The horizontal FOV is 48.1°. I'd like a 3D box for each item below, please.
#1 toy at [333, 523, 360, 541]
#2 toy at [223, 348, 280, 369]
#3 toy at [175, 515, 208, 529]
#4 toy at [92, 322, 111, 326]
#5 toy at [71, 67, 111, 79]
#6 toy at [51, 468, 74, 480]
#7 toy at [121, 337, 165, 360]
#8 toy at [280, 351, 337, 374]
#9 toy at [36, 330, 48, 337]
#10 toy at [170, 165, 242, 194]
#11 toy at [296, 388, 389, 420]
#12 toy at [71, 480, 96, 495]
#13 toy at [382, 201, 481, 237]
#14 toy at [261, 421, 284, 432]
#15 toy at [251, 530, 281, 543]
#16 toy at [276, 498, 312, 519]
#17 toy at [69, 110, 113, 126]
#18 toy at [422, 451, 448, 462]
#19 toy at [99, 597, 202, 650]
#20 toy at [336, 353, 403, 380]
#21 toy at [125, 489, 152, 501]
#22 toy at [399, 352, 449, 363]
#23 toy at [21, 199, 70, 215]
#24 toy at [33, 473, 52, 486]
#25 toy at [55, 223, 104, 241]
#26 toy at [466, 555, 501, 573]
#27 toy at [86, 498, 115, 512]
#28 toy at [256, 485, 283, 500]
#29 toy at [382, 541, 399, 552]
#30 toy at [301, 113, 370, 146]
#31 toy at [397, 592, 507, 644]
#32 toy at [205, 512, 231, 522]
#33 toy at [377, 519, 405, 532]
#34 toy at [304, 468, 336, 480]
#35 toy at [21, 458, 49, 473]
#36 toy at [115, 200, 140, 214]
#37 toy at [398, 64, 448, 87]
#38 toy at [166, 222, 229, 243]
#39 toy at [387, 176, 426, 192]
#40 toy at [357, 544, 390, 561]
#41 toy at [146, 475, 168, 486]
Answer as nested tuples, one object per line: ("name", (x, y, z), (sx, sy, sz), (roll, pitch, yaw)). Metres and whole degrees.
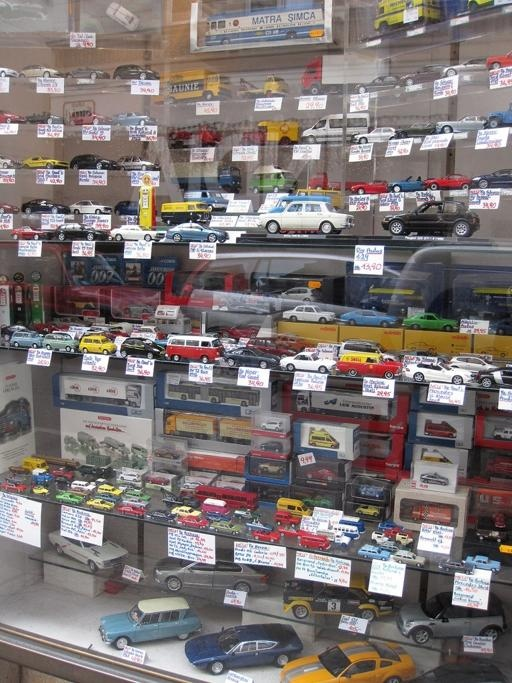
("toy", (0.360, 0.755, 2.280), (0.083, 0.036, 0.048), (2, 12, 17))
("toy", (-0.019, 0.074, 2.399), (0.206, 0.061, 0.089), (4, 15, 18))
("toy", (-0.280, 0.777, 2.498), (0.110, 0.030, 0.053), (3, 12, 15))
("toy", (-0.771, -0.087, 2.843), (0.066, 0.014, 0.035), (5, 11, 23))
("toy", (-0.774, -1.244, 2.671), (0.136, 0.037, 0.078), (4, 29, 6))
("toy", (-0.982, 0.673, 2.915), (0.089, 0.039, 0.050), (0, 8, 8))
("toy", (-0.508, 0.024, 2.581), (0.178, 0.070, 0.093), (3, 16, 8))
("toy", (0.206, 0.076, 2.297), (0.184, 0.051, 0.084), (4, 20, 16))
("toy", (-1.035, -0.042, 2.770), (0.051, 0.030, 0.014), (7, -27, 36))
("toy", (-0.211, -0.716, 2.547), (0.305, 0.120, 0.113), (3, 13, 20))
("toy", (0.332, 0.250, 2.628), (0.516, 0.124, 0.134), (6, 18, 20))
("toy", (-0.846, 0.707, 2.785), (0.089, 0.038, 0.050), (3, 17, 8))
("toy", (0.633, -0.460, 2.066), (0.273, 0.111, 0.131), (10, 20, 16))
("toy", (0.079, 0.393, 2.664), (0.078, 0.034, 0.042), (0, 4, 14))
("toy", (0.038, 0.796, 2.355), (0.091, 0.025, 0.046), (2, 21, 15))
("toy", (0.153, 0.722, 2.487), (0.115, 0.051, 0.061), (1, 10, 15))
("toy", (-0.778, -1.045, 2.687), (0.165, 0.059, 0.094), (1, 25, 5))
("toy", (0.743, 0.481, 2.399), (0.079, 0.017, 0.042), (3, 0, 14))
("toy", (-0.475, 1.253, 2.569), (0.323, 0.111, 0.176), (1, 2, -10))
("toy", (0.423, 0.091, 2.179), (0.250, 0.089, 0.094), (5, 19, 18))
("toy", (-0.565, 0.722, 2.695), (0.083, 0.034, 0.048), (2, 13, 6))
("toy", (0.634, 0.060, 2.183), (0.115, 0.029, 0.062), (3, 9, 11))
("toy", (-1.023, -0.644, 2.749), (0.236, 0.074, 0.094), (1, 14, 7))
("toy", (-1.060, 0.682, 2.851), (0.075, 0.040, 0.050), (2, 13, 13))
("toy", (-0.797, -0.494, 2.608), (0.260, 0.080, 0.058), (1, 10, 20))
("toy", (0.800, 0.786, 2.036), (0.098, 0.028, 0.054), (1, 15, 13))
("toy", (-0.715, 0.742, 2.628), (0.095, 0.031, 0.054), (3, 15, 11))
("toy", (0.064, 0.687, 2.655), (0.118, 0.060, 0.077), (1, -5, 25))
("toy", (0.507, 0.776, 2.172), (0.037, 0.016, 0.024), (5, 21, 18))
("toy", (0.315, -0.847, 2.274), (0.270, 0.105, 0.094), (5, 26, 20))
("toy", (0.798, 1.142, 2.396), (0.421, 0.160, 0.218), (2, 5, 9))
("toy", (-0.167, 0.768, 2.509), (0.066, 0.019, 0.039), (1, 12, 7))
("toy", (0.528, 0.730, 2.280), (0.062, 0.023, 0.037), (0, 10, 8))
("toy", (0.285, 0.591, 2.548), (0.121, 0.037, 0.048), (6, 4, 11))
("toy", (-1.161, 0.645, 3.017), (0.120, 0.057, 0.071), (4, 14, 12))
("toy", (-0.599, -0.617, 2.649), (0.148, 0.075, 0.027), (3, 11, 31))
("toy", (0.612, -0.979, 2.114), (0.130, 0.035, 0.065), (0, 33, 29))
("toy", (-0.245, -0.460, 2.379), (0.241, 0.071, 0.099), (3, 13, 16))
("toy", (0.567, -0.588, 2.142), (0.112, 0.047, 0.061), (3, 14, 7))
("toy", (0.442, 0.790, 2.155), (0.086, 0.027, 0.051), (-1, 11, 20))
("toy", (-0.491, 0.686, 2.829), (0.098, 0.030, 0.045), (2, 6, 13))
